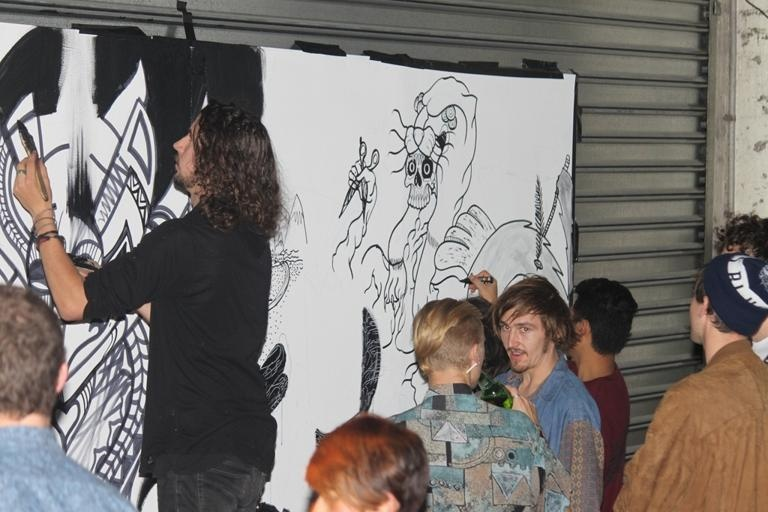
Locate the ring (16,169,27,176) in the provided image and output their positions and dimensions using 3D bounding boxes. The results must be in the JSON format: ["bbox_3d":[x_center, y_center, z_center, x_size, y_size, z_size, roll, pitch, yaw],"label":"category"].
[{"bbox_3d":[-2.276,-0.526,6.940,0.054,0.052,0.010,1,-9,-4],"label":"ring"}]

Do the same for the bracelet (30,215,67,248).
[{"bbox_3d":[-2.120,-0.139,6.955,0.140,0.104,0.206,-24,-24,-23],"label":"bracelet"}]
